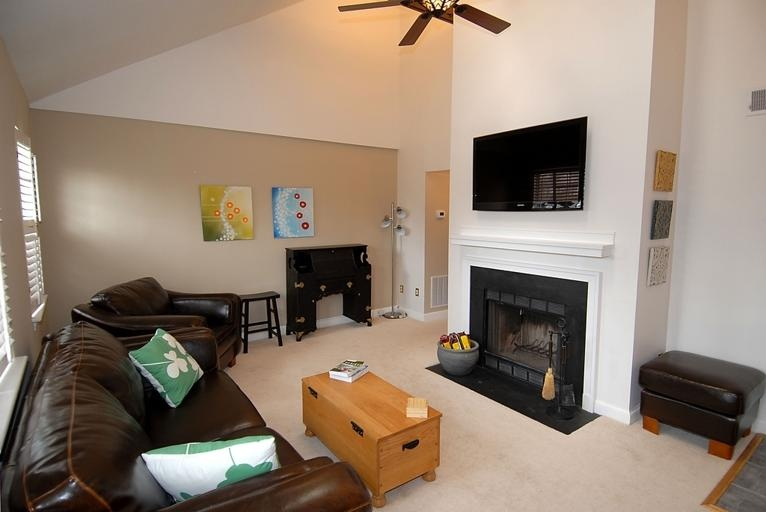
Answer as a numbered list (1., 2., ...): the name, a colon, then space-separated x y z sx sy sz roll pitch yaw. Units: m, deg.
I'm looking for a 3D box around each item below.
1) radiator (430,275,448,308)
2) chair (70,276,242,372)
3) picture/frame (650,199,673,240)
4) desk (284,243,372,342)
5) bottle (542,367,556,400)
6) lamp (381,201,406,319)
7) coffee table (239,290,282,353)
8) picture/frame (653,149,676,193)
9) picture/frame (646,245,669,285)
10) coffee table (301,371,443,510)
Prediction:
1. radiator: 0.829 0.518 7.352 0.048 0.499 0.490 -1 -1 43
2. chair: -2.238 0.561 5.080 1.198 1.025 1.228 -2 9 -10
3. picture/frame: 2.588 -0.349 4.583 0.377 0.388 0.053 -1 6 -40
4. desk: -0.764 0.479 6.662 1.197 1.179 0.455 -4 5 -37
5. bottle: 1.649 1.265 4.870 0.126 0.348 0.283 1 8 19
6. lamp: 0.178 0.057 7.423 0.433 1.727 0.366 -5 8 -25
7. coffee table: -1.576 0.843 6.285 0.560 0.827 0.494 -6 17 -28
8. picture/frame: 2.593 -0.797 4.545 0.414 0.480 0.062 -1 8 -38
9. picture/frame: 2.566 0.075 4.613 0.358 0.352 0.049 -2 5 -39
10. coffee table: 0.002 1.371 4.131 0.759 0.670 1.330 -7 11 -36
